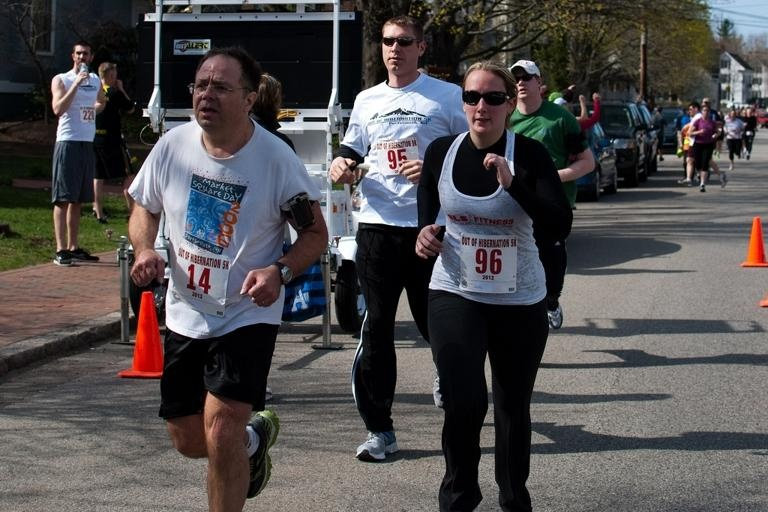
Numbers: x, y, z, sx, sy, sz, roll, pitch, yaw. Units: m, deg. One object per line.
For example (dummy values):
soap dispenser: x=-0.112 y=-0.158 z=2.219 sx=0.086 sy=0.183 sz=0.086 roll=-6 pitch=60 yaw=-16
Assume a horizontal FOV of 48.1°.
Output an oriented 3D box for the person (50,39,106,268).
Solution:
person: x=-4.416 y=-1.514 z=12.319 sx=0.711 sy=3.042 sz=1.430 roll=-2 pitch=9 yaw=-19

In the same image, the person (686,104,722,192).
person: x=8.785 y=-3.058 z=23.822 sx=0.719 sy=2.359 sz=1.338 roll=4 pitch=9 yaw=21

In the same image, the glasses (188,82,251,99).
glasses: x=-0.984 y=-0.945 z=4.850 sx=0.368 sy=0.055 sz=0.185 roll=8 pitch=12 yaw=34

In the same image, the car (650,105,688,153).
car: x=15.950 y=-7.536 z=47.516 sx=1.394 sy=1.529 sz=3.112 roll=4 pitch=31 yaw=32

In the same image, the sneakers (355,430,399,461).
sneakers: x=-0.053 y=1.365 z=6.215 sx=0.141 sy=0.162 sz=0.325 roll=-4 pitch=-4 yaw=38

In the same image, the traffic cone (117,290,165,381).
traffic cone: x=-2.184 y=0.713 z=7.899 sx=0.548 sy=0.730 sz=0.559 roll=-1 pitch=0 yaw=7

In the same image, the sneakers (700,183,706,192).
sneakers: x=8.691 y=-1.862 z=23.496 sx=0.111 sy=0.147 sz=0.323 roll=-1 pitch=-8 yaw=16

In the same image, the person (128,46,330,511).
person: x=-0.886 y=0.090 z=4.827 sx=1.114 sy=2.489 sz=0.726 roll=0 pitch=8 yaw=-5

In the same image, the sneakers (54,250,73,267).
sneakers: x=-4.448 y=0.004 z=11.858 sx=0.238 sy=0.215 sz=0.193 roll=-3 pitch=10 yaw=-22

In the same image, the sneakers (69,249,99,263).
sneakers: x=-4.251 y=-0.019 z=12.094 sx=0.432 sy=0.200 sz=0.156 roll=2 pitch=3 yaw=-11

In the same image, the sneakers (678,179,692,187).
sneakers: x=8.991 y=-2.212 z=25.567 sx=0.138 sy=0.156 sz=0.396 roll=-2 pitch=11 yaw=-9

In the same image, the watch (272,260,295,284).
watch: x=-0.559 y=0.077 z=4.720 sx=0.059 sy=0.095 sz=0.089 roll=-40 pitch=43 yaw=-12
